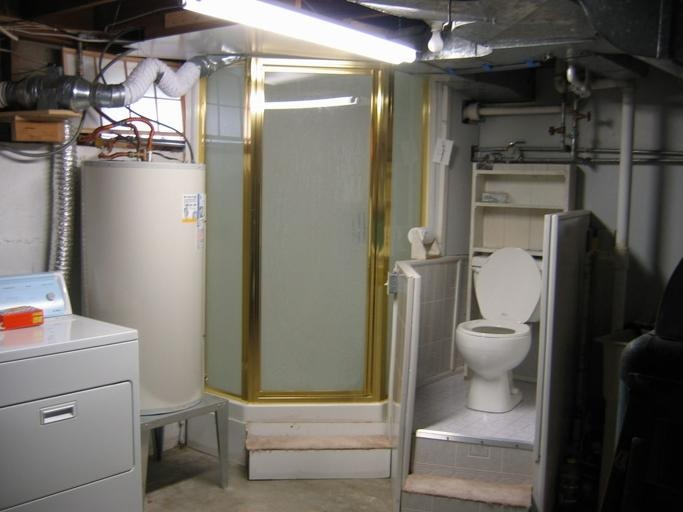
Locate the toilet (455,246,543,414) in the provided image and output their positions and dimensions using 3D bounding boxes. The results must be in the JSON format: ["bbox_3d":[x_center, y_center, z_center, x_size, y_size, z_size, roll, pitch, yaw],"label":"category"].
[{"bbox_3d":[1.072,0.491,4.006,0.500,1.036,0.742,4,10,20],"label":"toilet"}]

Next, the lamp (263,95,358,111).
[{"bbox_3d":[-0.186,-0.951,3.693,0.598,0.098,0.036,-1,9,-9],"label":"lamp"}]

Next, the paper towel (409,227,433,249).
[{"bbox_3d":[0.573,-0.124,4.061,0.246,0.141,0.095,-8,12,-43],"label":"paper towel"}]
